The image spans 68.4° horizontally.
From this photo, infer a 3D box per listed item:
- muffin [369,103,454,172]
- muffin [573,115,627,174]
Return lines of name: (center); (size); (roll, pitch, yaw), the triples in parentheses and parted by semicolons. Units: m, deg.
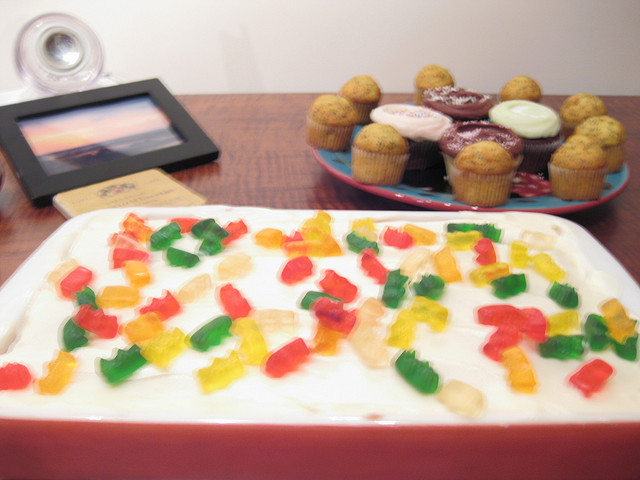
muffin: (0.200, -0.263, 1.150); (0.179, 0.114, 0.170); (18, 25, 29)
muffin: (0.622, -0.225, 1.080); (0.078, 0.134, 0.100); (20, 28, 36)
